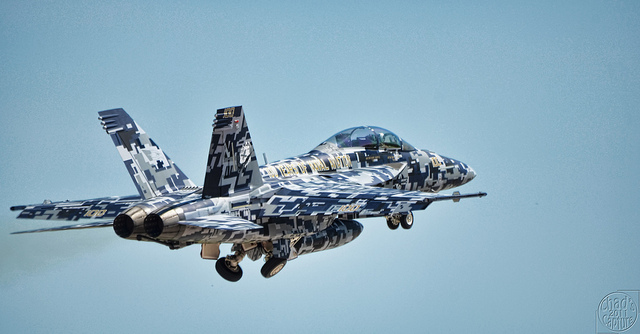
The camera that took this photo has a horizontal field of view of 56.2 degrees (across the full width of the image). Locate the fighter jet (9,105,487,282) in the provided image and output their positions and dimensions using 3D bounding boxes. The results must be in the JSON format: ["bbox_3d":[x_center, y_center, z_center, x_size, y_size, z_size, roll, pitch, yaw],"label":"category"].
[{"bbox_3d":[-1.994,0.783,16.288,5.380,4.556,13.929,-1,-2,-24],"label":"fighter jet"}]
